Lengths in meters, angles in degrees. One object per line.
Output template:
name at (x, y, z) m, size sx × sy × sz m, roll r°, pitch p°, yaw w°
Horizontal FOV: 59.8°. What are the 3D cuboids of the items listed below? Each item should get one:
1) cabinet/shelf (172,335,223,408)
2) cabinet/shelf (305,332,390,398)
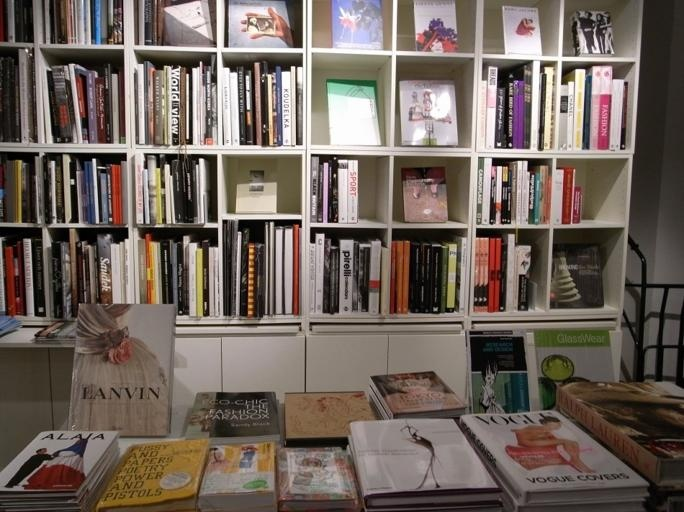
cabinet/shelf at (-0.799, 0.622, 3.276) m, size 0.268 × 0.360 × 0.118 m, roll -4°, pitch 2°, yaw -18°
cabinet/shelf at (0.023, 0.549, 3.464) m, size 0.527 × 0.523 × 0.293 m, roll 0°, pitch 7°, yaw -1°
